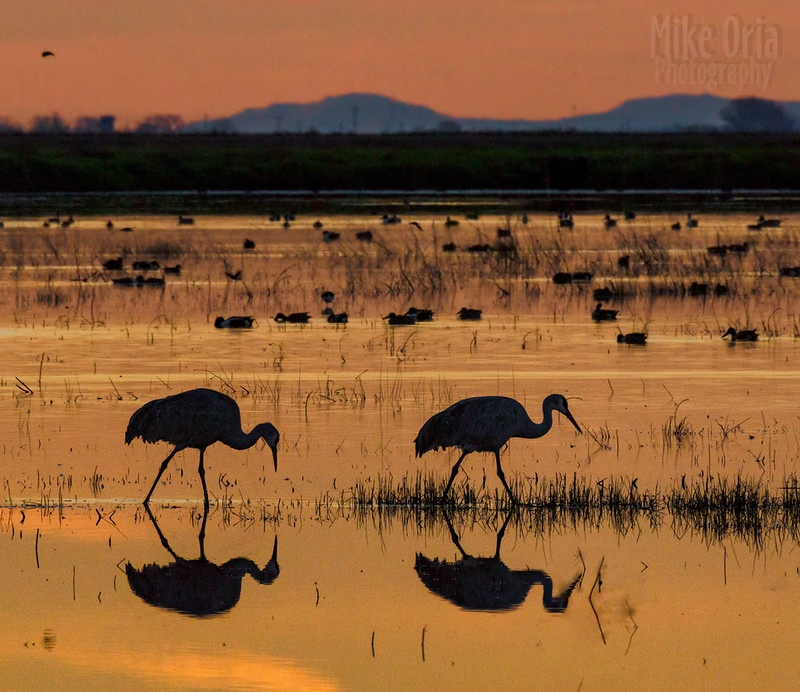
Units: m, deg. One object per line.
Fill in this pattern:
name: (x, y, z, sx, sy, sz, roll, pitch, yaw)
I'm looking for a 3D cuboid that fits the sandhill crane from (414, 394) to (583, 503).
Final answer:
sandhill crane: (1.137, 1.197, 24.858, 1.721, 1.208, 0.947, -7, 13, -31)
